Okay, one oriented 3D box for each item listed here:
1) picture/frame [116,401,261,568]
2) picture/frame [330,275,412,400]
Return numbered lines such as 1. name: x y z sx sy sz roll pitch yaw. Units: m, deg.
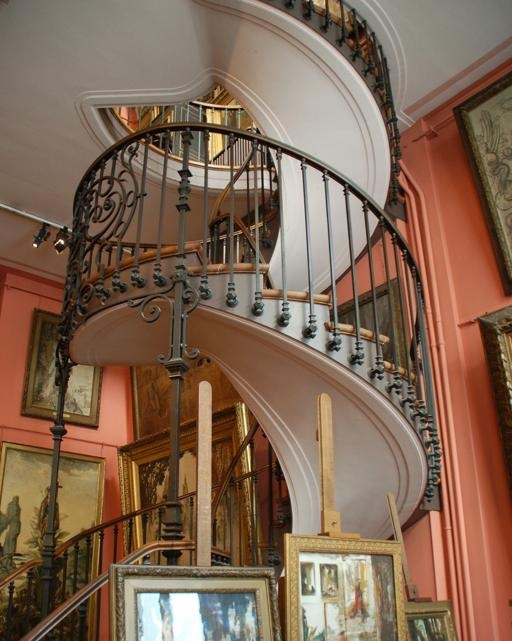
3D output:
1. picture/frame: -0.674 1.599 4.816 0.811 1.339 2.872 8 -25 -24
2. picture/frame: 0.776 -0.008 3.779 0.178 0.626 0.917 2 4 -13
